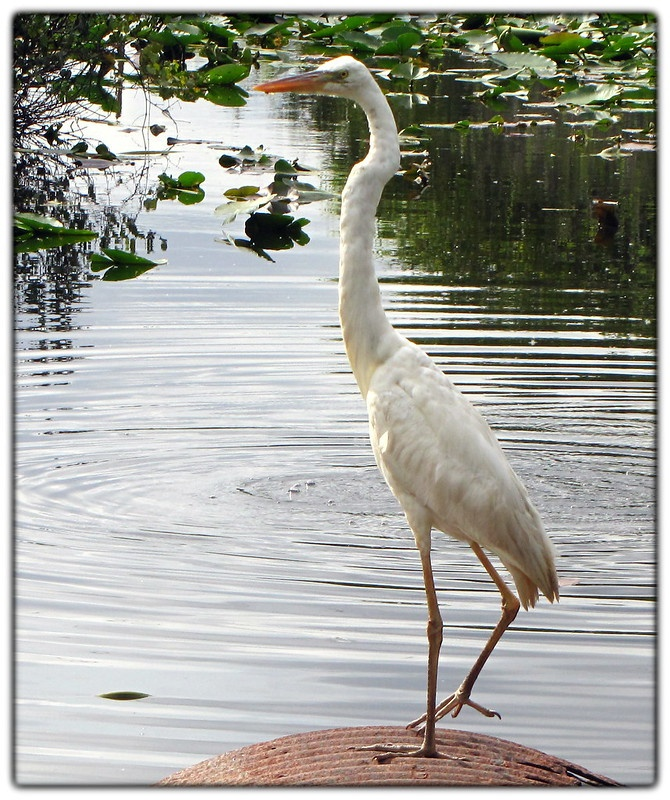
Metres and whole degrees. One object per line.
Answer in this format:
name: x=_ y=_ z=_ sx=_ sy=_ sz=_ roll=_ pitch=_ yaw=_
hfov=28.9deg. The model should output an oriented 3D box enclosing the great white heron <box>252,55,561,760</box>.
great white heron: x=0.319 y=-0.198 z=4.841 sx=0.509 sy=2.178 sz=1.025 roll=-5 pitch=10 yaw=-35
